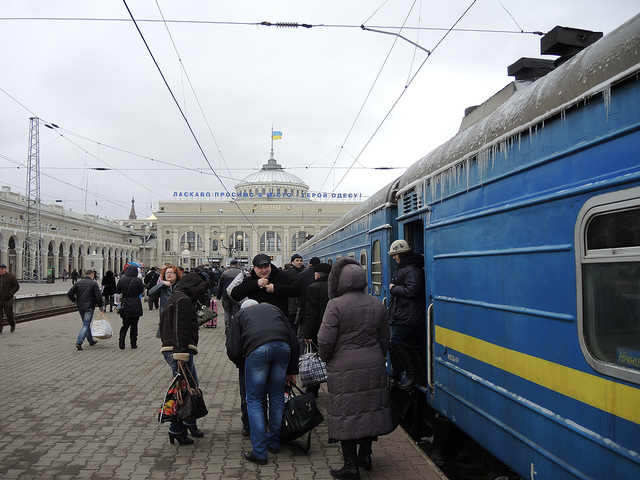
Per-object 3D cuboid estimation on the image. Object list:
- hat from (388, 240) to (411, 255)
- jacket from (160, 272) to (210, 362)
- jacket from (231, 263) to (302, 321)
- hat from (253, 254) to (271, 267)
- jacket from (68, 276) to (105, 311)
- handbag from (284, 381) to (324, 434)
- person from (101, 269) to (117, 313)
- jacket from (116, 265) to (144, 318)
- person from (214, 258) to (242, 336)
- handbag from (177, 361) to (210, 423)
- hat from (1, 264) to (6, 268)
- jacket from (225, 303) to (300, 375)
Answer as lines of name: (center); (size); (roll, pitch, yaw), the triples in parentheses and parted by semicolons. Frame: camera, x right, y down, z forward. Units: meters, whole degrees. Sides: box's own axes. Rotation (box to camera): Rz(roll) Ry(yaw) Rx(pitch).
hat: (1.040, 0.092, 7.066); (0.206, 0.136, 0.159); (2, -3, 3)
jacket: (-1.623, 0.934, 6.343); (0.423, 0.829, 0.676); (-7, 7, 27)
jacket: (-0.700, 0.739, 6.915); (0.845, 0.895, 0.569); (-2, 3, -10)
hat: (-0.731, 0.260, 6.781); (0.178, 0.132, 0.256); (-1, -16, -7)
jacket: (-5.654, 1.306, 13.071); (0.833, 0.778, 0.352); (1, -3, -1)
handbag: (-0.217, 1.882, 6.174); (0.278, 0.505, 0.332); (-21, -21, 34)
person: (-8.100, 1.855, 20.757); (0.580, 1.844, 0.596); (3, 21, -4)
jacket: (-4.450, 1.361, 12.674); (0.576, 1.572, 0.559); (2, 4, -17)
person: (-2.064, 1.354, 12.677); (0.726, 1.863, 0.618); (1, -12, -7)
handbag: (-1.490, 1.708, 6.073); (0.326, 0.576, 0.271); (-12, 6, -19)
hat: (-8.928, 0.733, 15.247); (0.076, 0.090, 1.080); (-14, 7, -28)
jacket: (-0.631, 1.104, 5.979); (0.740, 0.862, 0.485); (-4, -20, -17)
